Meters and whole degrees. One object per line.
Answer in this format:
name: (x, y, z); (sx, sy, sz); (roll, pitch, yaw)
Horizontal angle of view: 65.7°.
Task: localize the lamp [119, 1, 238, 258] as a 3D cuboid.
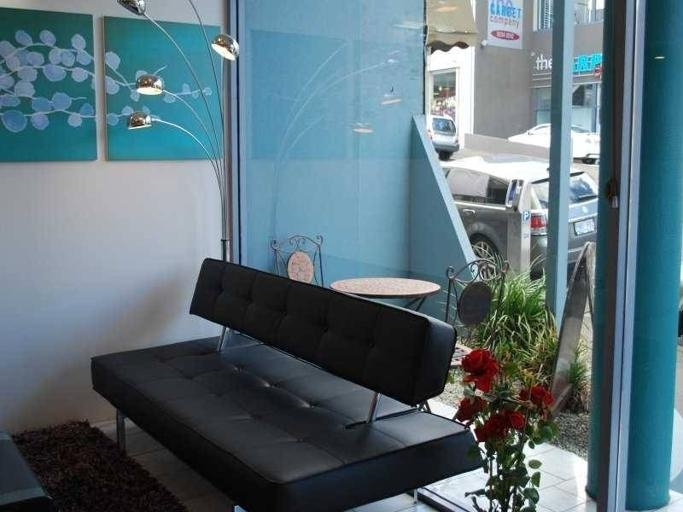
lamp: (-1.044, -0.789, 3.498); (0.764, 1.820, 0.795); (-3, 10, -12)
